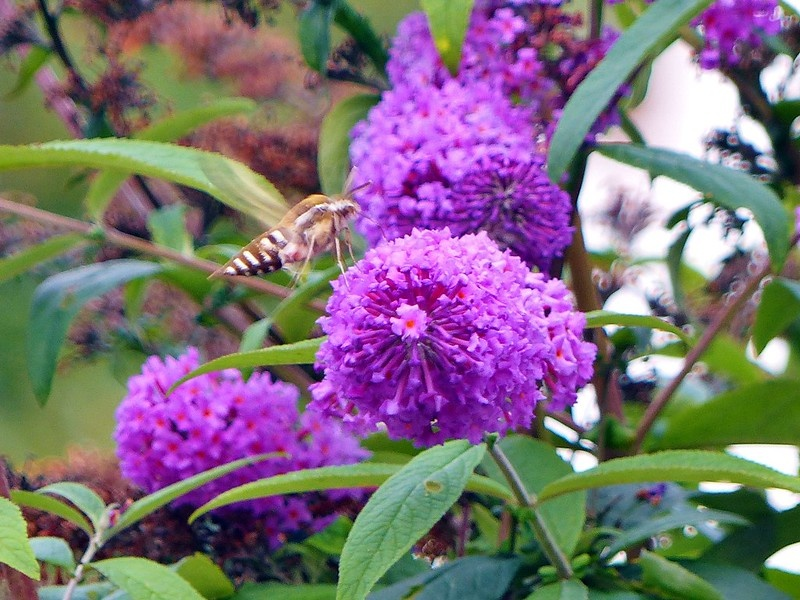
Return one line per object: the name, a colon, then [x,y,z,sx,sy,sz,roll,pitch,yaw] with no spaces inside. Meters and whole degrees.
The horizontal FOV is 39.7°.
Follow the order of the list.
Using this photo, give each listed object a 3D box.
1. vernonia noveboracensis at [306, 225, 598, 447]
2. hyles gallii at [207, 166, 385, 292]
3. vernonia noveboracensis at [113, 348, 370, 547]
vernonia noveboracensis: [0.110,0.071,2.069,0.530,0.311,0.331,6,45,0]
hyles gallii: [-0.127,-0.149,2.303,0.518,0.324,0.154,-9,13,-31]
vernonia noveboracensis: [-0.335,0.314,2.495,0.425,0.484,0.273,-13,59,44]
